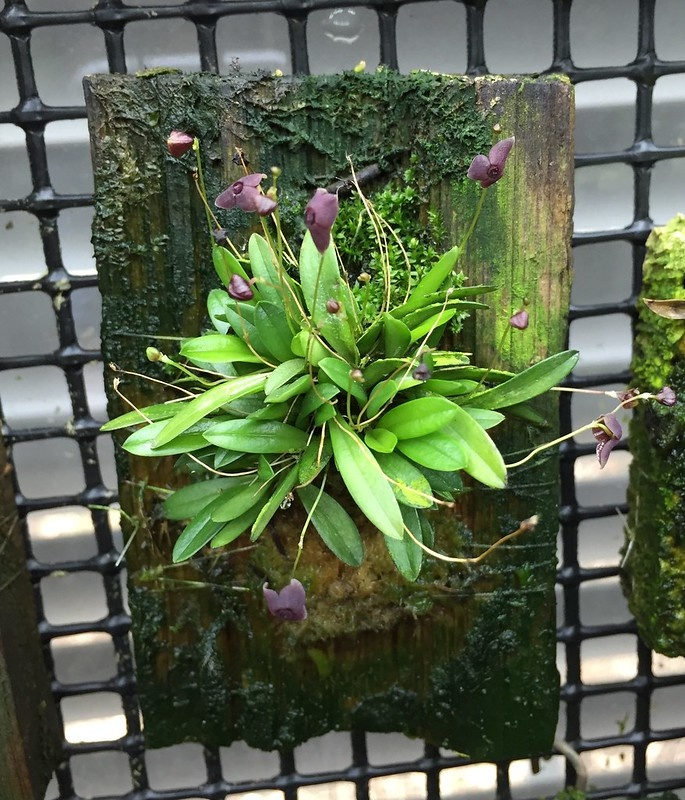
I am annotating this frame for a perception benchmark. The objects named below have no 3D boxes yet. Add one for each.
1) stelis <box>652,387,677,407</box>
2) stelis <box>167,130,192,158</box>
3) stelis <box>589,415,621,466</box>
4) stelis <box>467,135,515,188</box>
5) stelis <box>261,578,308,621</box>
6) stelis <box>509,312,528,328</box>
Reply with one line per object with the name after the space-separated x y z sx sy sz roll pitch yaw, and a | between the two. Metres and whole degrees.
0.519 -0.002 1.884 0.045 0.030 0.019 13 -14 10 | stelis
-0.252 -0.398 1.830 0.039 0.039 0.055 -3 -3 -6 | stelis
0.412 0.068 1.864 0.035 0.075 0.062 9 14 -14 | stelis
0.225 -0.359 1.804 0.062 0.067 0.063 -2 -3 -14 | stelis
-0.086 0.305 1.775 0.056 0.069 0.097 -3 -3 0 | stelis
0.277 -0.121 1.834 0.030 0.027 0.012 -5 1 14 | stelis
